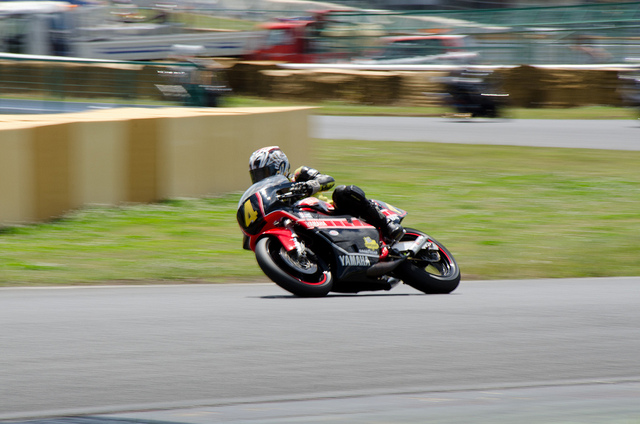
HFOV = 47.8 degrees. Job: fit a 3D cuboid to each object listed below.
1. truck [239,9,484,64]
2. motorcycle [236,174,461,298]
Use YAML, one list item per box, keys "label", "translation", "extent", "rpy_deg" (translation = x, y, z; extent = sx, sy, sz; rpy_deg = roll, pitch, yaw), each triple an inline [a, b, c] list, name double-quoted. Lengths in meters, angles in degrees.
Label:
- label: "truck"
  translation: [1.673, -7.411, 29.223]
  extent: [9.425, 1.019, 4.226]
  rpy_deg: [1, 5, 3]
- label: "motorcycle"
  translation: [0.262, 0.278, 7.129]
  extent: [2.157, 1.209, 1.072]
  rpy_deg: [0, 16, -4]
